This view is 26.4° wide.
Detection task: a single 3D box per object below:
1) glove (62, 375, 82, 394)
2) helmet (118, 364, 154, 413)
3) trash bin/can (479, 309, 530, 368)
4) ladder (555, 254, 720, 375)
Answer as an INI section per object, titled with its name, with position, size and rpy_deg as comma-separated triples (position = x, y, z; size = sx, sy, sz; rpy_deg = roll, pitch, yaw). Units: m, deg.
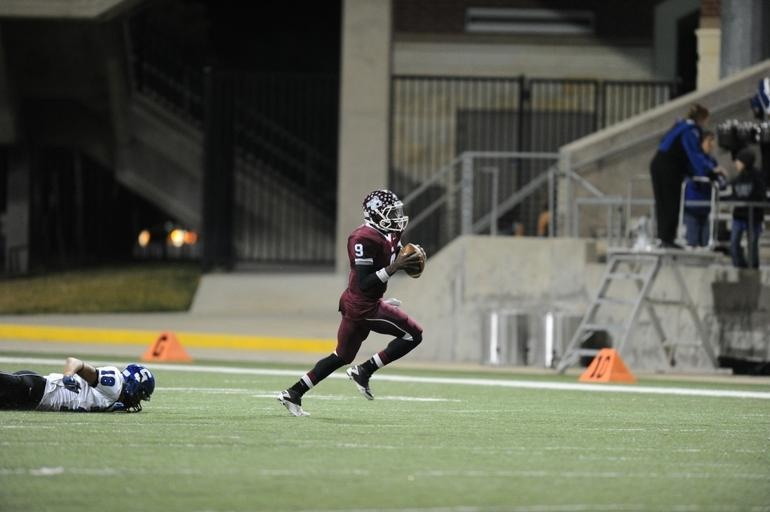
[glove]
position = -4.555, 1.853, 23.979
size = 0.283, 0.201, 0.111
rpy_deg = 41, -51, -15
[helmet]
position = -3.706, 1.838, 24.125
size = 0.326, 0.431, 0.437
rpy_deg = 2, -21, 10
[trash bin/can]
position = 2.281, 1.540, 30.778
size = 0.906, 0.943, 0.383
rpy_deg = 1, -6, 10
[ladder]
position = 4.648, 1.049, 29.996
size = 2.718, 2.208, 1.951
rpy_deg = 1, -6, 13
